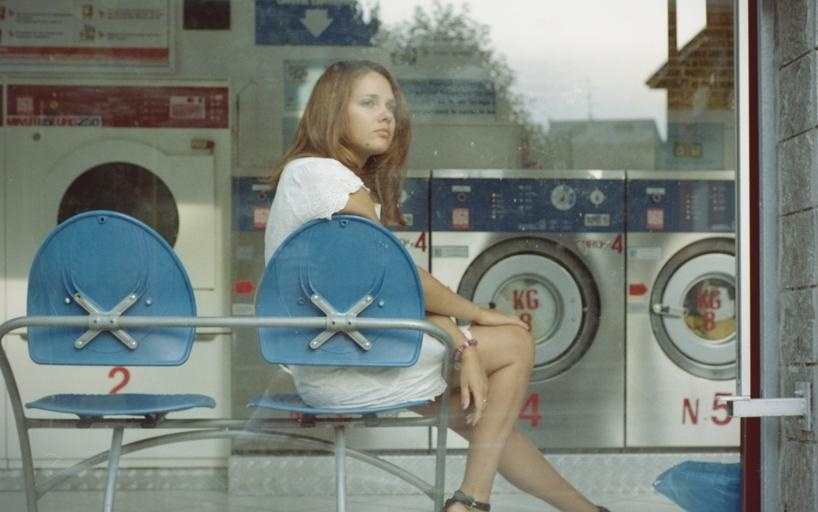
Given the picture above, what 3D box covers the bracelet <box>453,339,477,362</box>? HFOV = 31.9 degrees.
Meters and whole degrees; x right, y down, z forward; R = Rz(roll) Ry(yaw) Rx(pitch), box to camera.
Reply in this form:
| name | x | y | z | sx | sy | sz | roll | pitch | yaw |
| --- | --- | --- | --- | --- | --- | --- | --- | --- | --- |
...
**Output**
| name | x | y | z | sx | sy | sz | roll | pitch | yaw |
| --- | --- | --- | --- | --- | --- | --- | --- | --- | --- |
| bracelet | 0.179 | 0.306 | 4.744 | 0.073 | 0.029 | 0.063 | -45 | -5 | -14 |
